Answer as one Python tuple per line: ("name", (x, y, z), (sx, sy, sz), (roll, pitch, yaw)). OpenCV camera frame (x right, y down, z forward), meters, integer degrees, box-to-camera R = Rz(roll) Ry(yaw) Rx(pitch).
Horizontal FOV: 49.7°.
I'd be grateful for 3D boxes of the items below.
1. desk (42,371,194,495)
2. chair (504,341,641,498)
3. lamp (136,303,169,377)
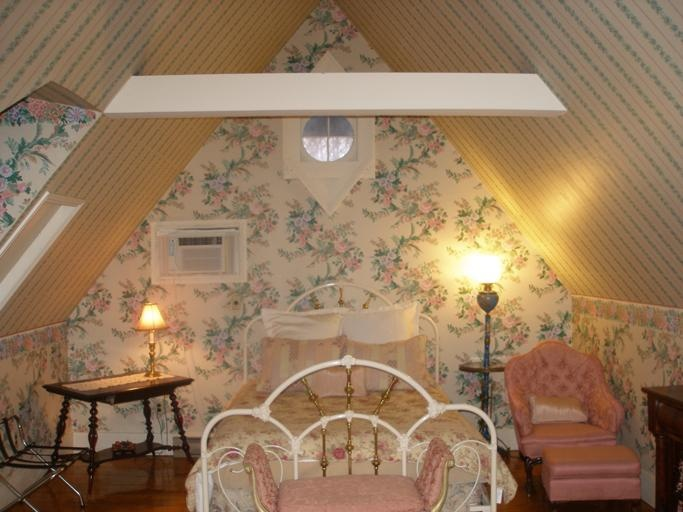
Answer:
("desk", (-1.801, 1.143, 5.920), (0.763, 0.899, 1.222), (6, 5, 40))
("chair", (1.763, 1.233, 5.509), (0.732, 0.940, 1.058), (-1, -10, 4))
("lamp", (-1.628, 0.710, 6.273), (0.227, 0.664, 0.476), (4, -17, -15))
